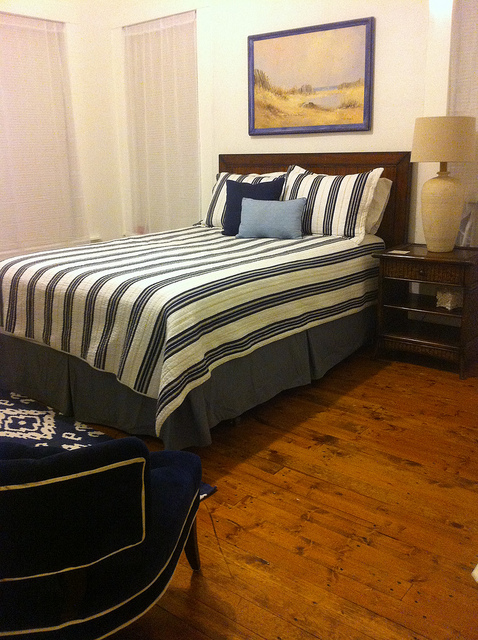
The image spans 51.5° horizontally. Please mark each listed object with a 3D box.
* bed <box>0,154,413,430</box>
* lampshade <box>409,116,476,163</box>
[{"bbox_3d":[0.015,-0.183,2.923,1.615,1.077,2.114,11,17,38],"label":"bed"},{"bbox_3d":[1.117,-0.979,2.748,0.300,0.204,0.290,-8,13,-36],"label":"lampshade"}]
